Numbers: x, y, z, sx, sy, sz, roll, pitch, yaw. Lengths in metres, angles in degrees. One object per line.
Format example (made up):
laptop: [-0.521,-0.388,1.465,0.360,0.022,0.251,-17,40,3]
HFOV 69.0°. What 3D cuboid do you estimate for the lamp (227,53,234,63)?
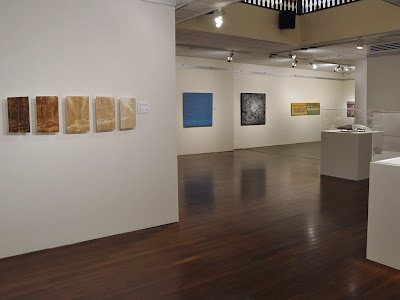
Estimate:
lamp: [1.354,-4.117,12.978,0.203,0.455,0.174,30,41,18]
